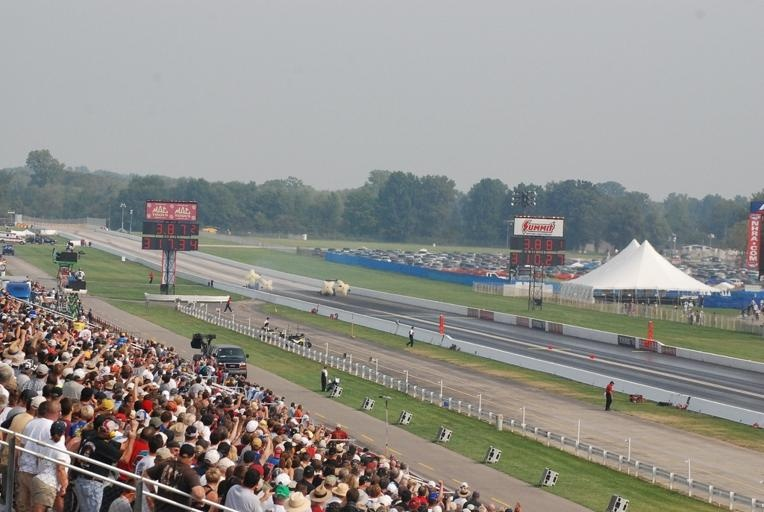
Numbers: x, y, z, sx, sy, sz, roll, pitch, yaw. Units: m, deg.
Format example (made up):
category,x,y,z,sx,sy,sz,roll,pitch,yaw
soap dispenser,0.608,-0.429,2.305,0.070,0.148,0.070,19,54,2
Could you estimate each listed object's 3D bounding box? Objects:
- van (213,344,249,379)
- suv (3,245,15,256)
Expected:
category,x,y,z,sx,sy,sz,roll,pitch,yaw
van,-11.281,7.838,106.042,1.989,1.564,3.434,0,-2,-11
suv,-47.745,-0.809,179.453,1.663,1.235,2.392,0,-3,-25
